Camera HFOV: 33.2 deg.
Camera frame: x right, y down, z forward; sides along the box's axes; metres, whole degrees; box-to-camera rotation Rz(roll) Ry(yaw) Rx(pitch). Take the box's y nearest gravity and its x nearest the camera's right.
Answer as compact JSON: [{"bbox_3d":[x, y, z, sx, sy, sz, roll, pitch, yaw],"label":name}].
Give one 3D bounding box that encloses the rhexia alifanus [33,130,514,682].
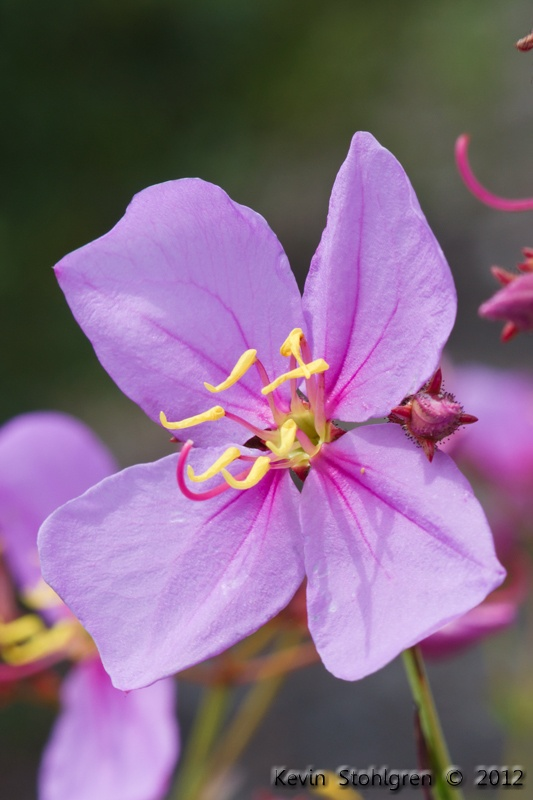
[{"bbox_3d":[-0.012,0.006,0.775,0.409,0.325,0.399,0,43,7],"label":"rhexia alifanus"}]
